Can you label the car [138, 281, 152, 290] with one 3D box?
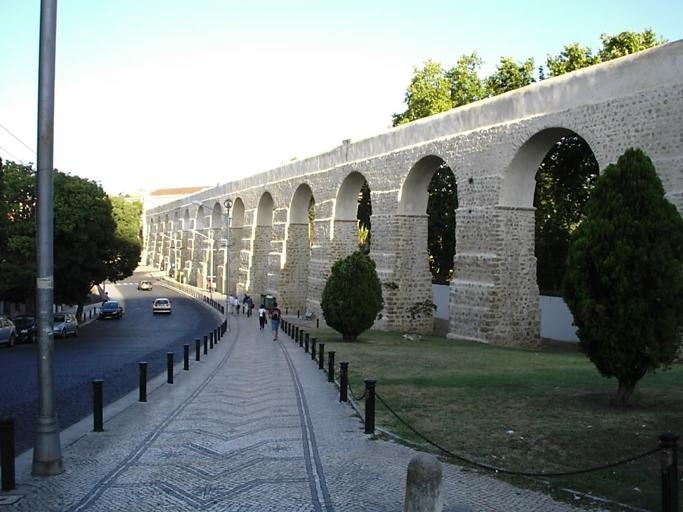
[{"bbox_3d":[-25.283,3.778,70.947,1.100,0.974,2.699,0,-4,-20],"label":"car"}]
